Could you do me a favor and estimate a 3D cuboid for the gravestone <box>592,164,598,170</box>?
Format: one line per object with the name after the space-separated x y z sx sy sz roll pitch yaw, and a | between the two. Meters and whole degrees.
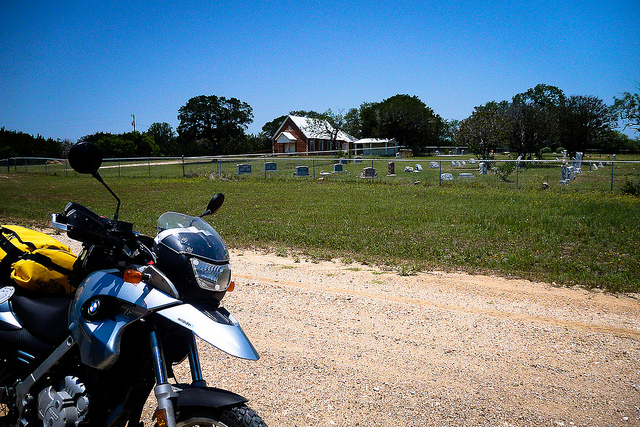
23.209 -3.903 42.592 0.278 0.551 0.740 -2 -15 22 | gravestone

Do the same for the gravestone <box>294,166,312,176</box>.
-1.339 -3.083 36.757 1.013 0.649 0.796 2 13 11 | gravestone

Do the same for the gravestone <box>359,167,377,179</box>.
3.354 -2.820 35.068 0.877 0.592 0.913 -1 1 -1 | gravestone

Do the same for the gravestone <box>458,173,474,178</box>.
10.129 -2.602 34.949 0.900 0.219 1.294 4 14 19 | gravestone

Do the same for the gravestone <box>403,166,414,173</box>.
7.194 -3.577 41.181 0.610 0.399 0.847 -2 2 -5 | gravestone
